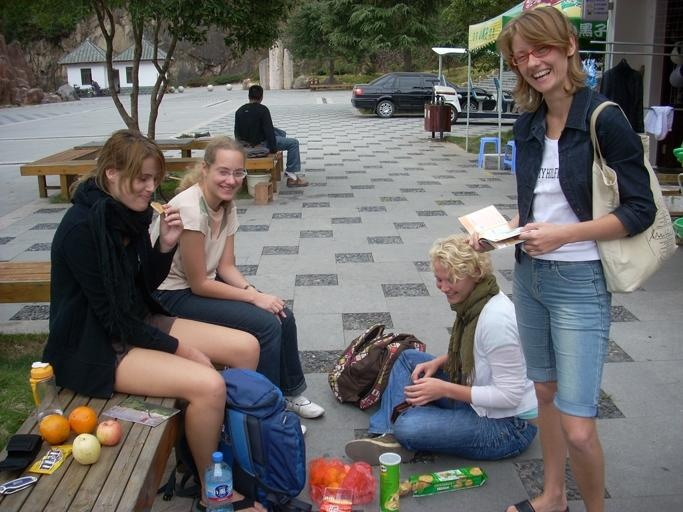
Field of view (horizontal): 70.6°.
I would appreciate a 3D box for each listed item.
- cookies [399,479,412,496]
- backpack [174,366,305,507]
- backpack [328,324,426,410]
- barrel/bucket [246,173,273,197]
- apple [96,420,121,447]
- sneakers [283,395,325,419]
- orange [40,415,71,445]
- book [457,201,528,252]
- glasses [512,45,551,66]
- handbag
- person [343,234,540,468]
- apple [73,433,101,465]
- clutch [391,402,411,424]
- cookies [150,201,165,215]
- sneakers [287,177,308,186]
[{"bbox_3d":[0.340,1.232,2.569,0.072,0.061,0.091,-5,14,3],"label":"cookies"},{"bbox_3d":[-0.441,0.904,2.564,0.648,0.657,0.443,-3,9,-2],"label":"backpack"},{"bbox_3d":[0.182,0.746,3.285,0.585,0.253,0.493,-44,27,4],"label":"backpack"},{"bbox_3d":[-1.557,-1.354,9.102,0.486,0.355,0.452,-1,8,0],"label":"barrel/bucket"},{"bbox_3d":[-0.988,0.757,2.082,0.103,0.095,0.101,1,-4,1],"label":"apple"},{"bbox_3d":[-0.247,1.015,3.257,0.297,0.108,0.109,9,14,22],"label":"sneakers"},{"bbox_3d":[-1.224,0.744,2.054,0.128,0.122,0.129,-3,-10,-5],"label":"orange"},{"bbox_3d":[0.666,-0.114,2.147,0.232,0.096,0.248,-12,49,-34],"label":"book"},{"bbox_3d":[0.758,-0.804,1.930,0.060,0.053,0.157,-16,18,-36],"label":"glasses"},{"bbox_3d":[1.182,-0.160,1.901,0.379,0.632,0.146,-7,15,-7],"label":"handbag"},{"bbox_3d":[0.565,0.567,2.891,1.155,1.228,0.741,-1,4,-11],"label":"person"},{"bbox_3d":[-1.040,0.793,1.958,0.070,0.084,0.069,-16,24,19],"label":"apple"},{"bbox_3d":[0.338,0.908,2.855,0.136,0.050,0.136,-40,1,-5],"label":"clutch"},{"bbox_3d":[-1.006,-0.253,2.572,0.023,0.078,0.086,-22,7,8],"label":"cookies"},{"bbox_3d":[-0.923,-1.551,10.010,0.357,0.150,0.185,0,8,-1],"label":"sneakers"}]
